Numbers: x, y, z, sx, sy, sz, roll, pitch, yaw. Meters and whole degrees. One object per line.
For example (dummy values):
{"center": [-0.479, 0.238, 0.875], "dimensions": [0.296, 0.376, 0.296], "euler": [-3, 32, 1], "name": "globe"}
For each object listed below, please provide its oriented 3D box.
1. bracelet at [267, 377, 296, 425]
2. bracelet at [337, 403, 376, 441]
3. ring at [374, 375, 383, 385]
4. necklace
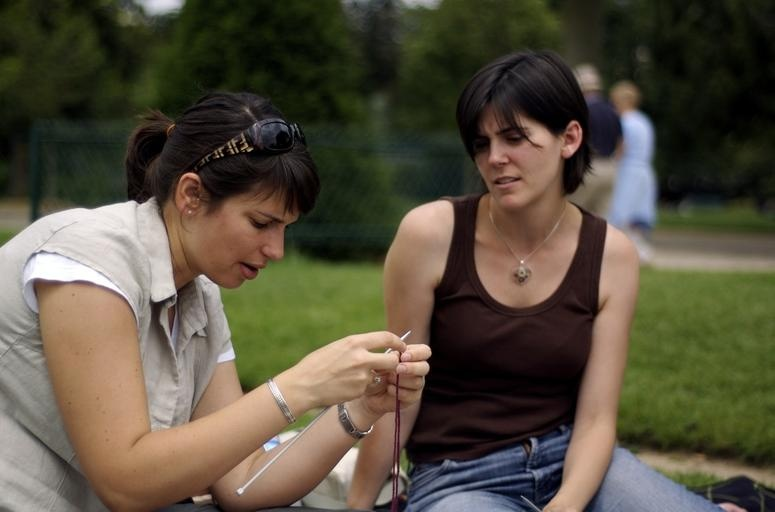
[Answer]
{"center": [-0.446, 0.597, 3.671], "dimensions": [0.128, 0.169, 0.050], "euler": [9, 14, 37], "name": "bracelet"}
{"center": [-0.139, 0.732, 4.041], "dimensions": [0.053, 0.158, 0.153], "euler": [-30, 3, 3], "name": "bracelet"}
{"center": [-0.042, 0.537, 3.891], "dimensions": [0.009, 0.045, 0.039], "euler": [-2, -7, 43], "name": "ring"}
{"center": [0.648, -0.081, 4.218], "dimensions": [0.300, 0.039, 0.576], "euler": [-7, 47, 22], "name": "necklace"}
